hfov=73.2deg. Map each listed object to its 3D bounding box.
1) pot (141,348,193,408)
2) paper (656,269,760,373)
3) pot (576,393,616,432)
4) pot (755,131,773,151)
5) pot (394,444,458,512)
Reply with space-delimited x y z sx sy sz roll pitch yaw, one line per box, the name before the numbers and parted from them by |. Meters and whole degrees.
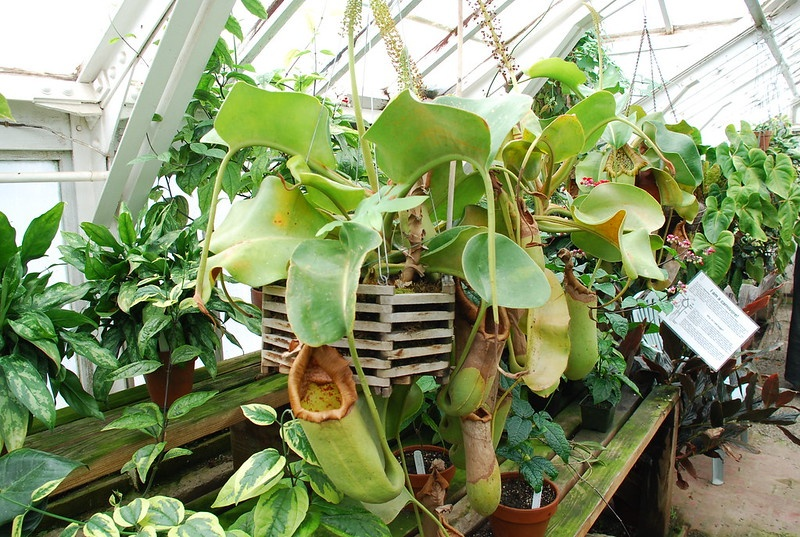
pot | -0.715 0.340 1.715 0.161 0.126 0.164 -1 5 0
paper | 1.126 0.199 1.986 0.375 0.356 0.070 -4 -27 -8
pot | 0.720 0.519 1.961 0.108 0.099 0.135 3 3 33
pot | 2.104 -0.722 3.077 0.066 0.110 0.222 -12 -8 35
pot | 0.077 0.578 1.524 0.161 0.118 0.163 0 3 0
